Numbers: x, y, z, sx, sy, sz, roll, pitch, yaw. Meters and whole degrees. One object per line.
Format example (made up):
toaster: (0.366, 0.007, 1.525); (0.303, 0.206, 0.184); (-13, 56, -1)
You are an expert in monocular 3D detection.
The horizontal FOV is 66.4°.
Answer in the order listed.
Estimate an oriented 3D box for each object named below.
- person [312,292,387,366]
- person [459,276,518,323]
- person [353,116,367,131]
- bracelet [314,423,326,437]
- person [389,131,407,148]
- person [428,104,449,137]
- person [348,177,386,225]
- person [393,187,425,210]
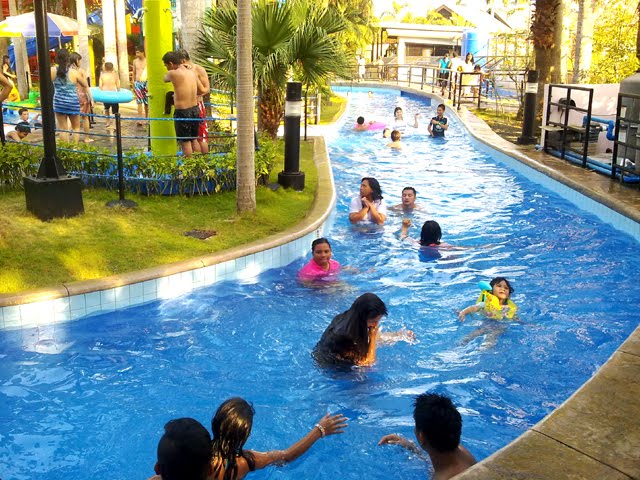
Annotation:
person: (0.306, 0.943, 5.097); (0.657, 0.885, 0.591); (11, 20, 10)
person: (2.235, 0.752, 6.421); (0.723, 0.588, 0.354); (5, 14, 17)
person: (1.642, -4.595, 19.375); (0.607, 0.336, 0.879); (-1, 10, 1)
bracelet: (0.002, 1.605, 4.114); (0.031, 0.097, 0.085); (-24, 25, -10)
person: (2.647, -3.442, 16.688); (0.511, 0.614, 0.882); (4, 13, 13)
person: (4.378, -4.408, 18.098); (0.681, 1.196, 1.128); (4, 14, 13)
person: (0.968, -0.747, 9.596); (0.676, 0.916, 0.619); (3, 5, 11)
person: (1.900, -0.828, 10.526); (0.704, 0.605, 0.455); (0, -6, 7)
